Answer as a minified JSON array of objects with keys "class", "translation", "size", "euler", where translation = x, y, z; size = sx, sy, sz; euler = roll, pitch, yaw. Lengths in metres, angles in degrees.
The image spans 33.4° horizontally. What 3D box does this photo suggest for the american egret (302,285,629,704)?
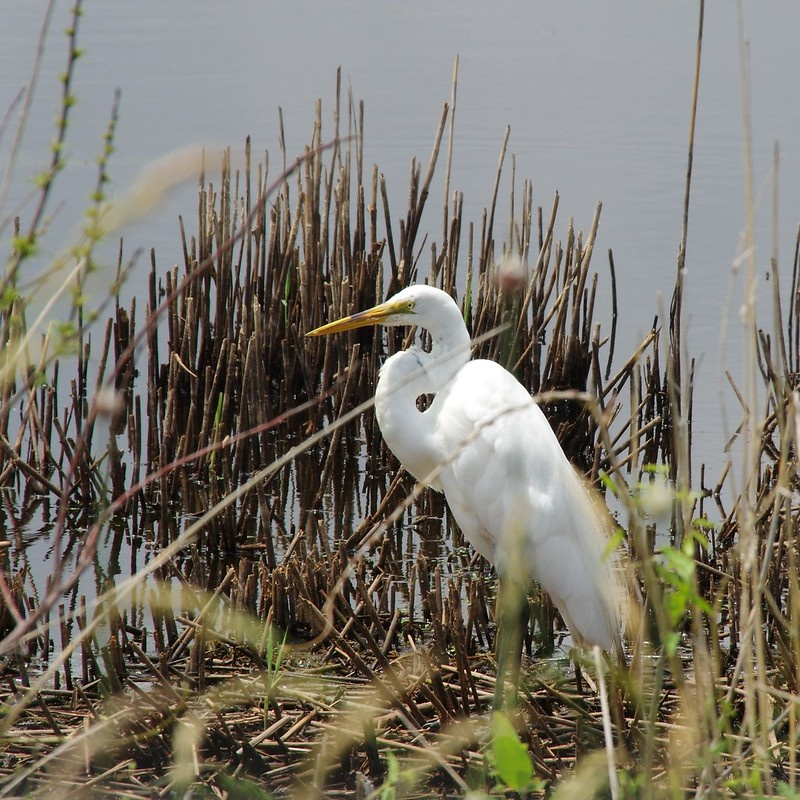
[{"class":"american egret","translation":[0.277,0.308,4.499],"size":[0.849,1.549,0.485],"euler":[2,-26,-7]}]
